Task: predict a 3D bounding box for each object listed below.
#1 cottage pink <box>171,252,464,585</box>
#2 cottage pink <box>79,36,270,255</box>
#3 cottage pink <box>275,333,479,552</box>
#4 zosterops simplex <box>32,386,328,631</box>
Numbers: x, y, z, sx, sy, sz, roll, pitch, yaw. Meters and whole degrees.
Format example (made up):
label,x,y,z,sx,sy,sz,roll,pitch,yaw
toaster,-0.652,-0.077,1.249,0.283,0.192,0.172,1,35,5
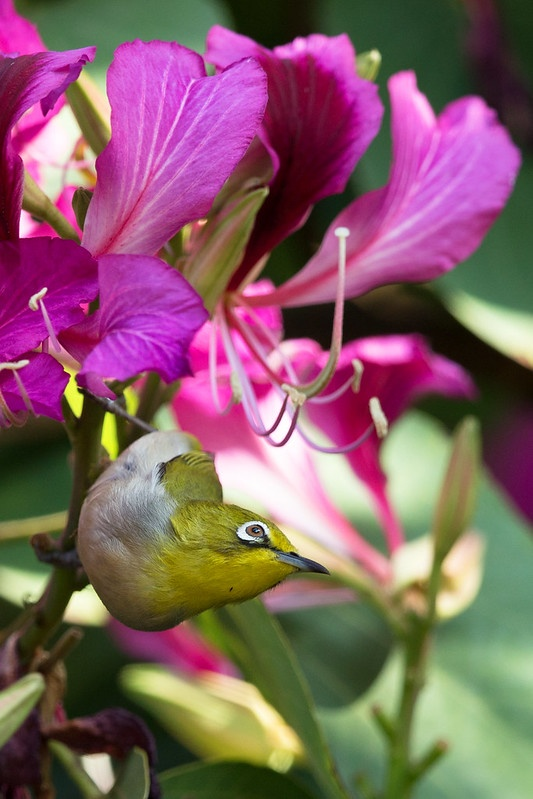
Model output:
label,x,y,z,sx,sy,sz,roll,pitch,yaw
cottage pink,0.010,0.006,0.546,0.179,0.068,0.175,27,4,-36
cottage pink,-0.040,-0.099,0.309,0.084,0.069,0.040,-16,47,-26
cottage pink,0.045,-0.002,0.583,0.141,0.184,0.126,-2,36,-19
zosterops simplex,-0.032,0.051,0.286,0.063,0.053,0.085,-24,50,-33
